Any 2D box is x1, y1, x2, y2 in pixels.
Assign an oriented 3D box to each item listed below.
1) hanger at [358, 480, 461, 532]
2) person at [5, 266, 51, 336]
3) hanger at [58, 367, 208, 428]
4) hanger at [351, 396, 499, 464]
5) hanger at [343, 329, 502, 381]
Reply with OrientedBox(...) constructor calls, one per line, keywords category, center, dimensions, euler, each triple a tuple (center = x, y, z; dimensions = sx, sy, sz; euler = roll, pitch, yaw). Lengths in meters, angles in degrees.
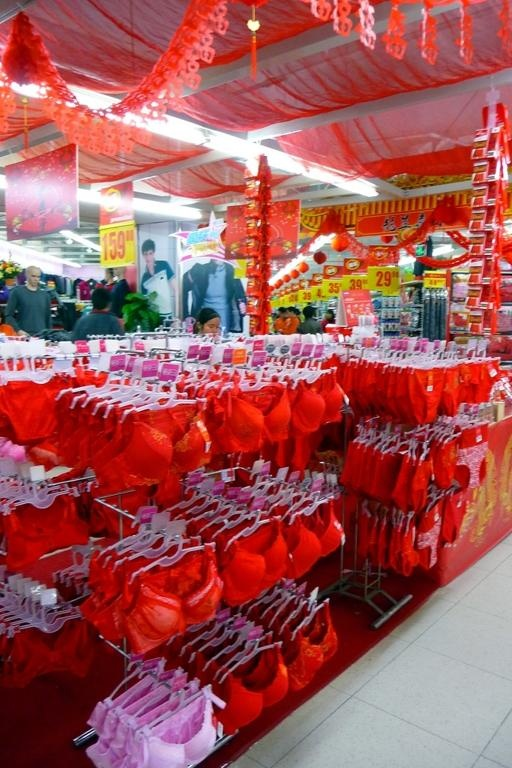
OrientedBox(category="hanger", center=(0.878, 0.634, 2.996), dimensions=(0.387, 0.356, 0.157), euler=(4, 2, -11))
OrientedBox(category="person", center=(-2.674, -0.993, 6.177), dimensions=(0.478, 0.804, 0.489), euler=(2, 3, -22))
OrientedBox(category="hanger", center=(-0.332, -0.003, 1.497), dimensions=(0.210, 0.094, 0.281), euler=(15, 19, 40))
OrientedBox(category="hanger", center=(0.947, 0.240, 2.954), dimensions=(0.934, 0.242, 0.393), euler=(1, 4, -30))
OrientedBox(category="hanger", center=(0.931, -0.187, 3.128), dimensions=(0.862, 0.230, 1.221), euler=(5, 4, 33))
